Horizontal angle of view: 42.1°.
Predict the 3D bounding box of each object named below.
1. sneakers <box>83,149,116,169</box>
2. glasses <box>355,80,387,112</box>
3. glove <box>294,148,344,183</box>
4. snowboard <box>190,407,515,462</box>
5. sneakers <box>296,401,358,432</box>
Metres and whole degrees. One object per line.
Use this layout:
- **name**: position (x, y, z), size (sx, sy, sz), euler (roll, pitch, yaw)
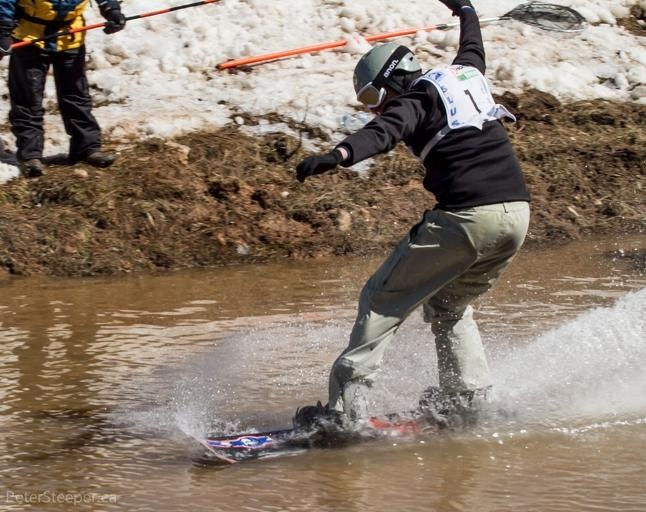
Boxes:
- **sneakers**: position (-2.472, -1.057, 8.956), size (0.548, 0.167, 0.107), euler (-2, 64, -4)
- **glasses**: position (0.294, -0.958, 4.921), size (0.178, 0.100, 0.126), euler (6, 69, 2)
- **glove**: position (0.010, -0.472, 4.267), size (0.283, 0.093, 0.162), euler (-24, 4, -23)
- **snowboard**: position (0.012, 0.975, 4.672), size (1.545, 0.148, 0.145), euler (-16, -4, 30)
- **sneakers**: position (0.001, 0.923, 4.780), size (0.379, 0.171, 0.104), euler (2, 84, -5)
